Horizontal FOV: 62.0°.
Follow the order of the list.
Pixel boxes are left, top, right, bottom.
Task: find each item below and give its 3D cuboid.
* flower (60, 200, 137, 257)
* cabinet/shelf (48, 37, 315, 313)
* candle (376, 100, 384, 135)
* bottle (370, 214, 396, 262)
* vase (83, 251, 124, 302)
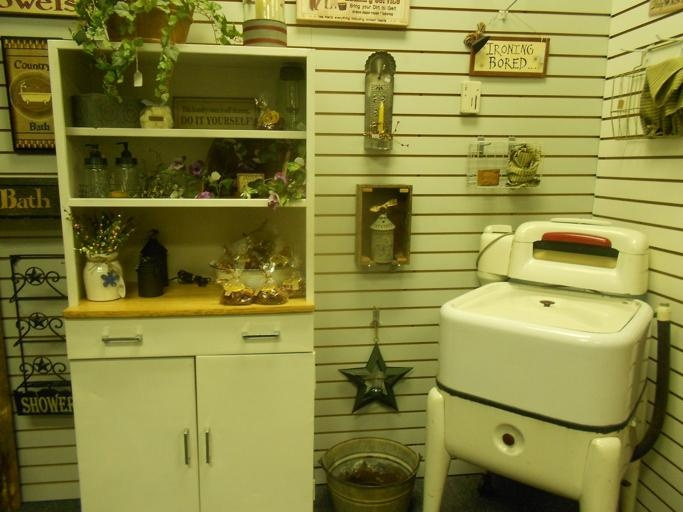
[{"bbox_3d":[-1.246,-0.143,2.817,0.265,0.189,0.281,-2,6,-5],"label":"flower"},{"bbox_3d":[-0.818,-0.429,2.783,1.416,1.308,0.466,-1,14,-4],"label":"cabinet/shelf"},{"bbox_3d":[0.214,-0.736,3.037,0.037,0.177,0.071,0,11,13],"label":"candle"},{"bbox_3d":[0.230,-0.095,3.149,0.145,0.272,0.144,-2,10,0],"label":"bottle"},{"bbox_3d":[-1.176,0.109,2.727,0.253,0.226,0.177,2,7,-9],"label":"vase"}]
